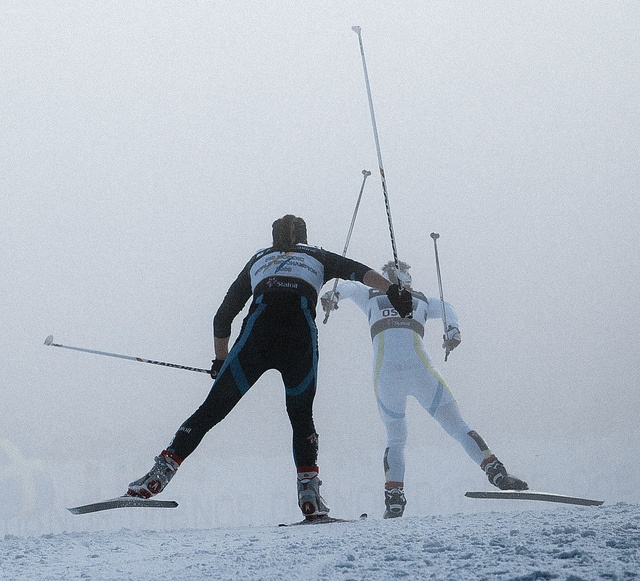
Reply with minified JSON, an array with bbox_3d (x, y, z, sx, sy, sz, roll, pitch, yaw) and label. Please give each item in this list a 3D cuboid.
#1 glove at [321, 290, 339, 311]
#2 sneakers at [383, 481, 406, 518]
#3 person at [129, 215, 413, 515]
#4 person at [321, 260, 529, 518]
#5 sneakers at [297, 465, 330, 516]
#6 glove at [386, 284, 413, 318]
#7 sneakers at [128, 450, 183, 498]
[{"bbox_3d":[0.068,0.066,7.787,0.094,0.142,0.065,13,-31,-5],"label":"glove"},{"bbox_3d":[0.460,1.269,7.214,0.074,0.266,0.251,6,-24,-2],"label":"sneakers"},{"bbox_3d":[-0.217,0.396,5.819,1.287,1.864,0.578,-3,-45,5],"label":"person"},{"bbox_3d":[0.643,0.467,7.412,0.983,2.195,0.833,-10,-43,5],"label":"person"},{"bbox_3d":[-0.019,0.984,5.690,0.092,0.292,0.274,-10,-12,21],"label":"sneakers"},{"bbox_3d":[0.391,0.047,5.701,0.106,0.157,0.066,-33,5,-18],"label":"glove"},{"bbox_3d":[-0.769,0.878,5.451,0.240,0.270,0.090,9,-34,22],"label":"sneakers"}]
